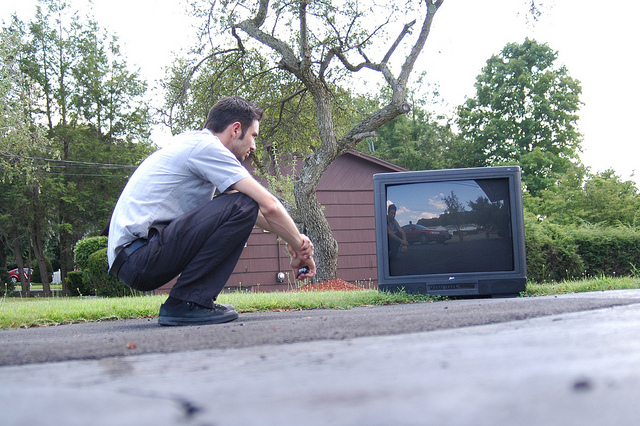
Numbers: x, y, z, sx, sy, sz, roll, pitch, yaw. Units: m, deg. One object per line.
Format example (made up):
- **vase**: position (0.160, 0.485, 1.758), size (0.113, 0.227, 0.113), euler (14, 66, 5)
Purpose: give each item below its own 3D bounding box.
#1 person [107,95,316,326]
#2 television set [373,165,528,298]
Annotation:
- **person**: position (-0.622, -0.032, 3.275), size (1.285, 1.362, 0.976), euler (2, -2, -35)
- **television set**: position (1.371, 0.213, 5.469), size (1.551, 1.384, 0.268), euler (-1, -6, 6)
